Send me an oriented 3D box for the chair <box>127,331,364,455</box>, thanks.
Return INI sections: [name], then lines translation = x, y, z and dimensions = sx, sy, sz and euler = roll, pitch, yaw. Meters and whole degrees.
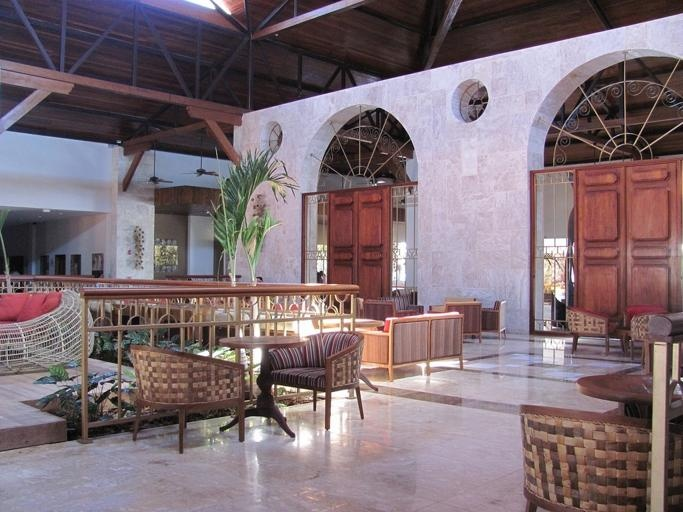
[chair]
translation = -0.683, 1.092, 4.600
dimensions = 2.009, 0.806, 0.752
euler = 0, -3, -38
